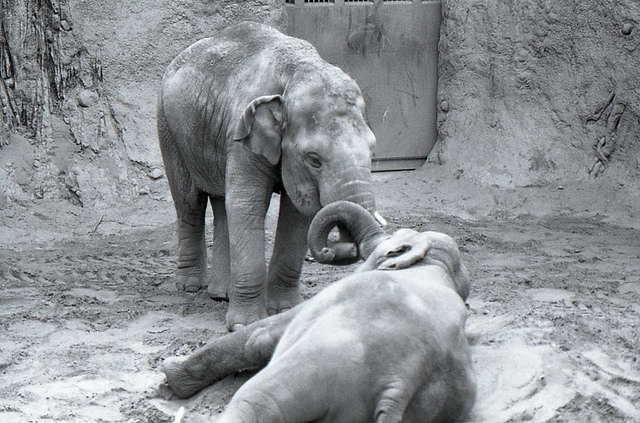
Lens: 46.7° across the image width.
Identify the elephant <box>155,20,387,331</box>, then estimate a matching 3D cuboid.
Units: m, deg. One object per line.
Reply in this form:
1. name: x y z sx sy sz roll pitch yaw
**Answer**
1. elephant: -0.530 -0.250 6.496 1.236 2.467 2.588 -12 21 -41
